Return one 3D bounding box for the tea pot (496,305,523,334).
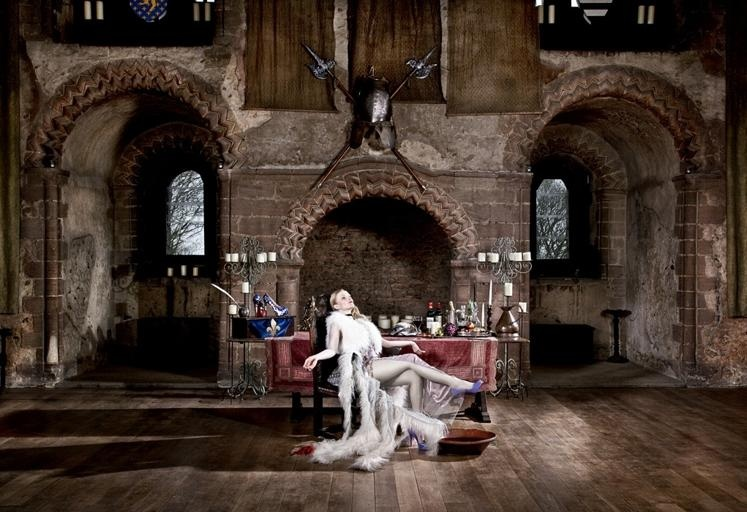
[{"bbox_3d":[1.937,0.945,11.130,0.288,0.476,0.422,-4,-9,37],"label":"tea pot"}]

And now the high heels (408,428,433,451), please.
[{"bbox_3d":[0.567,2.186,9.185,0.301,0.223,0.103,4,8,31],"label":"high heels"}]

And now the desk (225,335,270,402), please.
[{"bbox_3d":[-1.896,1.701,11.736,0.622,0.810,0.654,-3,2,37],"label":"desk"}]

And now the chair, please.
[{"bbox_3d":[-0.438,1.320,9.716,0.785,1.757,0.938,2,13,-7],"label":"chair"}]

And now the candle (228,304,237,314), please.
[{"bbox_3d":[-2.060,0.759,11.104,0.136,0.171,0.143,1,0,16],"label":"candle"}]

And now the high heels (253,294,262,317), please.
[{"bbox_3d":[-1.676,0.725,11.117,0.109,0.384,0.135,0,-15,-21],"label":"high heels"}]

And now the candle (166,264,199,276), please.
[{"bbox_3d":[-3.528,0.262,14.192,0.592,0.201,0.124,0,7,-1],"label":"candle"}]

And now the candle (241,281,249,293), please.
[{"bbox_3d":[-1.890,0.454,11.311,0.130,0.175,0.140,-1,3,-17],"label":"candle"}]

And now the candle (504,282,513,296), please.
[{"bbox_3d":[1.982,0.471,11.089,0.169,0.216,0.184,0,1,-8],"label":"candle"}]
